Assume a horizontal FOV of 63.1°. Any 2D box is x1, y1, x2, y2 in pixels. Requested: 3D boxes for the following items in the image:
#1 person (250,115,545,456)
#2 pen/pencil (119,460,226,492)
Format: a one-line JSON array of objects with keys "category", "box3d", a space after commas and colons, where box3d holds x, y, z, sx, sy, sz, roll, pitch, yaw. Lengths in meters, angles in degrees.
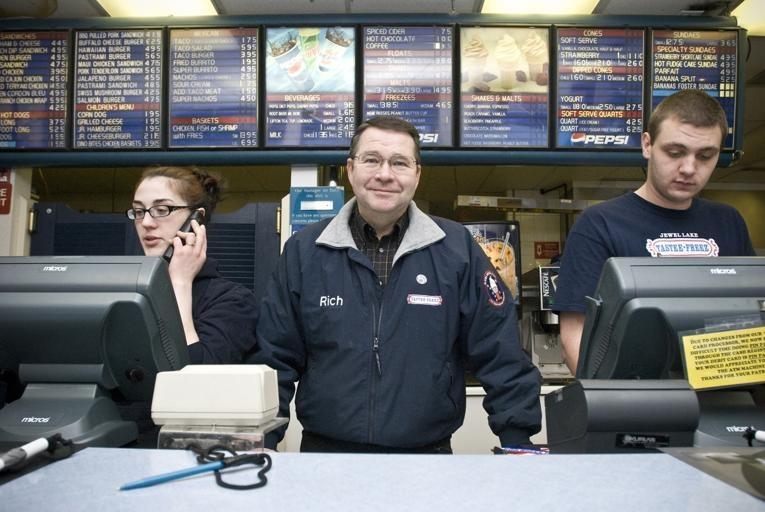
[{"category": "person", "box3d": [0.043, 0.246, 2.248, 0.997, 0.868, 0.456, -3, 10, 0]}, {"category": "pen/pencil", "box3d": [-0.487, 0.512, 1.448, 0.191, 0.017, 0.020, -8, 4, -24]}]
